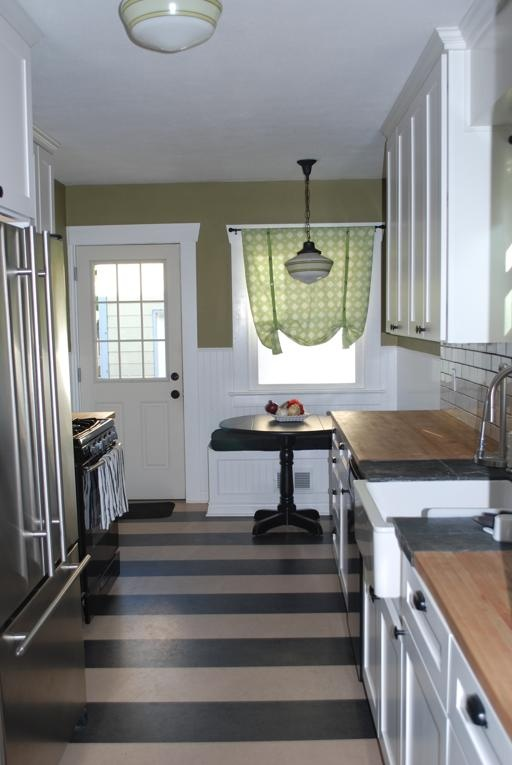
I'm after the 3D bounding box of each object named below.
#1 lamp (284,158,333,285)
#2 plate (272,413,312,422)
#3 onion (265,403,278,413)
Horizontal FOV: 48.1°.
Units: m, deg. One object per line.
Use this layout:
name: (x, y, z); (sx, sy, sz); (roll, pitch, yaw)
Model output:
lamp: (0.356, -1.075, 3.881); (0.283, 0.834, 0.931); (0, 4, 6)
plate: (0.230, 0.223, 3.758); (0.220, 0.047, 0.140); (-1, 4, -3)
onion: (0.108, 0.174, 3.863); (0.075, 0.082, 0.062); (22, 7, 0)
